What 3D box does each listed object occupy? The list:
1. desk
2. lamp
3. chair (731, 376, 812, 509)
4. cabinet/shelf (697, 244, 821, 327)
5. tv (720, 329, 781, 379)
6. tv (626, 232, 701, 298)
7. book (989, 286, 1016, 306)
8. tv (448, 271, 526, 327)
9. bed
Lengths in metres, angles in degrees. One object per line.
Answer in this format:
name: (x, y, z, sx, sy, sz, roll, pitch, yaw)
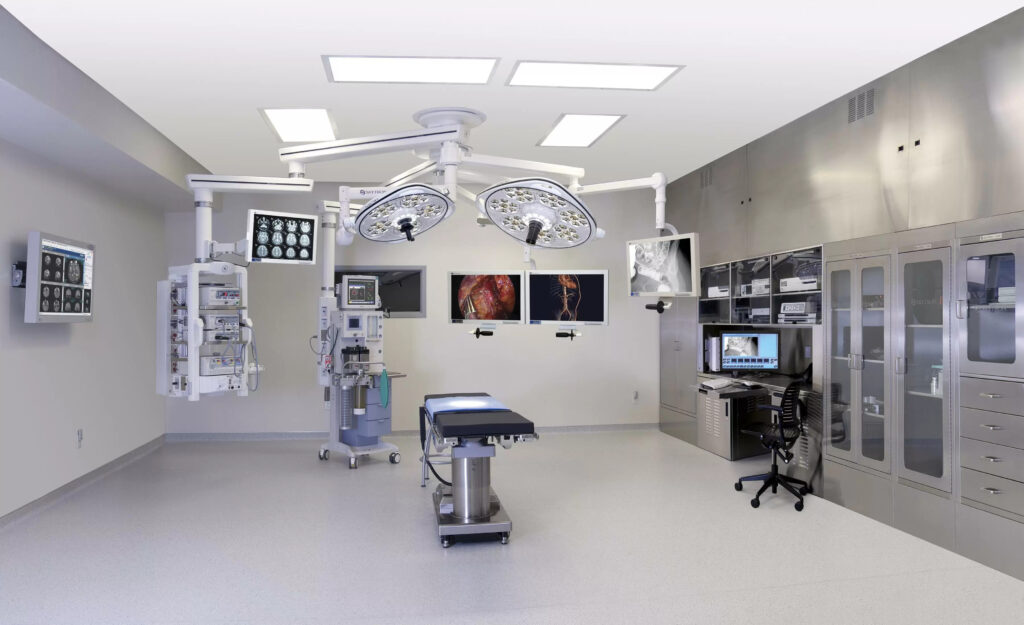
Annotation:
desk: (2.932, 1.356, 7.875, 1.273, 1.776, 1.378, 1, -1, 19)
lamp: (-0.329, -0.746, 5.637, 2.053, 0.491, 1.923, -4, -7, -5)
chair: (3.142, 1.445, 7.838, 1.234, 1.776, 1.365, 1, -1, 19)
cabinet/shelf: (3.151, -0.272, 8.276, 0.272, 0.862, 1.985, 2, -3, -26)
tv: (3.174, 0.552, 8.650, 0.682, 0.461, 0.201, 0, -2, 10)
tv: (1.427, -0.440, 6.368, 0.906, 0.586, 0.094, -5, 5, -29)
book: (4.417, -0.120, 5.893, 0.137, 0.211, 0.231, 5, -5, -39)
tv: (-0.264, -0.169, 6.942, 0.632, 0.411, 0.064, 0, -2, 7)
bed: (-0.481, 1.569, 6.905, 1.007, 1.207, 1.979, 1, 1, -13)
